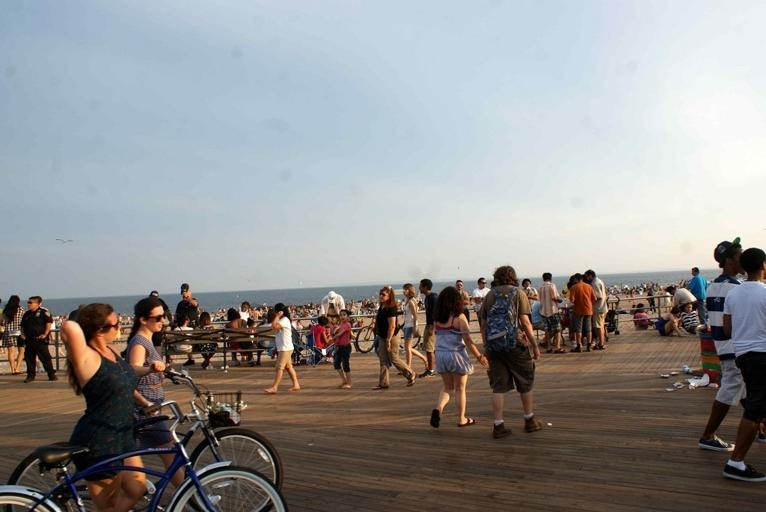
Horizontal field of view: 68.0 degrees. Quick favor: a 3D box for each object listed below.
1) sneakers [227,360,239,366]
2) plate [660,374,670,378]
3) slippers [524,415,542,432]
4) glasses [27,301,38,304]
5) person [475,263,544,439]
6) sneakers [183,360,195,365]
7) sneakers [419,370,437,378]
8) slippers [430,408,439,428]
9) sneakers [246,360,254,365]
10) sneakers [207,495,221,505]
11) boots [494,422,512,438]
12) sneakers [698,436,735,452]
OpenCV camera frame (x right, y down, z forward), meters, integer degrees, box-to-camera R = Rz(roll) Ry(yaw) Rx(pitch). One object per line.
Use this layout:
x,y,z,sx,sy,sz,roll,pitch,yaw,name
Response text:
-4.617,3.310,17.390,0.393,0.189,0.176,-4,-3,30,sneakers
5.817,2.482,11.699,0.171,0.041,0.359,-6,-5,33,plate
2.299,2.509,8.582,0.145,0.267,0.384,-1,9,34,slippers
-9.581,1.281,15.522,0.328,0.077,0.101,-6,-5,33,glasses
1.897,1.406,8.503,0.751,2.509,0.443,-4,-4,7,person
-6.045,3.335,17.730,0.122,0.160,0.289,7,-1,45,sneakers
1.098,2.870,13.791,0.387,0.173,0.140,3,-8,-31,sneakers
0.821,2.554,8.945,0.123,0.308,0.126,1,-6,11,slippers
-4.041,3.258,17.378,0.202,0.147,0.413,-2,-4,-18,sneakers
-1.602,2.321,5.399,0.056,0.047,0.148,-5,-8,4,sneakers
1.749,2.557,8.410,0.133,0.220,0.332,0,8,37,boots
4.315,2.443,7.414,0.455,0.210,0.176,-2,-2,13,sneakers
